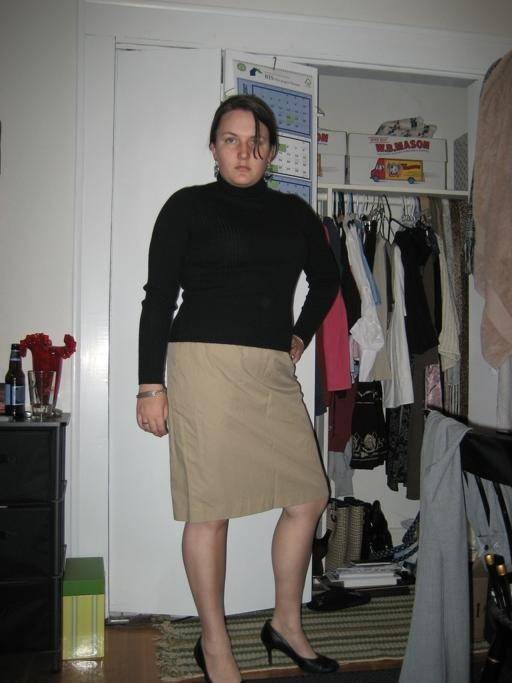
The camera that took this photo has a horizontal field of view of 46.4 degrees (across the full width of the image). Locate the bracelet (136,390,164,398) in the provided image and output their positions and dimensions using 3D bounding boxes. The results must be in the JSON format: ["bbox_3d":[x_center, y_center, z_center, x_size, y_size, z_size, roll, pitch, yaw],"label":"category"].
[{"bbox_3d":[-0.269,0.138,1.535,0.069,0.029,0.037,3,2,-2],"label":"bracelet"}]

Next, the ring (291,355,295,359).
[{"bbox_3d":[0.103,0.045,1.713,0.003,0.011,0.007,0,-3,44],"label":"ring"}]

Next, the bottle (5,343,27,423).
[{"bbox_3d":[-0.742,0.120,1.855,0.059,0.218,0.266,1,2,-22],"label":"bottle"}]

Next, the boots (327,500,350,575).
[{"bbox_3d":[0.327,0.801,2.482,0.050,0.285,0.131,4,-5,-22],"label":"boots"}]
